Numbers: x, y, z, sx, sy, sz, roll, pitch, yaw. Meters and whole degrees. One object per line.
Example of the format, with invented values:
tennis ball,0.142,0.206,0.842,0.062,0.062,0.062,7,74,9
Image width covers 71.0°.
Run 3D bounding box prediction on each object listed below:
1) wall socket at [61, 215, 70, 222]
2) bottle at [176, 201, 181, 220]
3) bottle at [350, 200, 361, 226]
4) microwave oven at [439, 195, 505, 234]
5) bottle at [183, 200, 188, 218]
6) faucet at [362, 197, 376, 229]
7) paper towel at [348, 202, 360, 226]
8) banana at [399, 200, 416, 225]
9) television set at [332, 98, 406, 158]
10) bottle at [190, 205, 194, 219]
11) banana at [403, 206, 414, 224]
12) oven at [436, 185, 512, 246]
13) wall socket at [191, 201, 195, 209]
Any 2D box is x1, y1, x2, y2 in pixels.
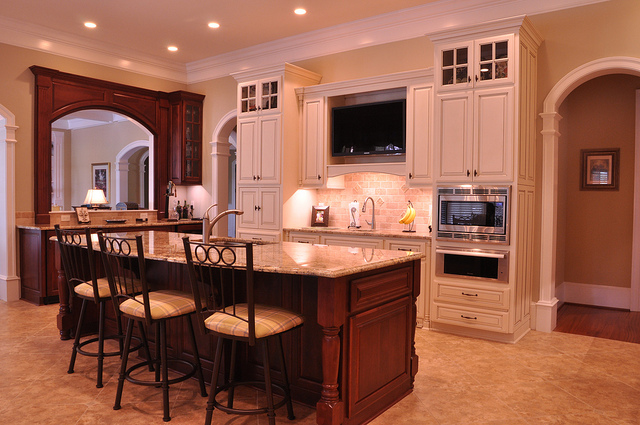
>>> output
wall socket,-4.123,0.078,7.256,0.124,0.102,0.020,-8,14,-38
bottle,-2.639,-0.013,8.368,0.082,0.243,0.235,-4,11,-19
bottle,0.526,0.009,6.825,0.137,0.363,0.151,0,11,0
microwave oven,1.997,0.043,5.757,0.905,0.556,0.523,2,-4,40
bottle,-2.591,-0.083,8.603,0.089,0.290,0.331,-3,11,-17
faucet,0.737,-0.007,6.761,0.205,0.455,0.260,1,11,5
paper towel,0.528,0.018,6.823,0.141,0.354,0.146,1,11,4
banana,1.258,-0.009,6.408,0.171,0.116,0.353,0,47,19
television set,0.747,-1.239,6.585,0.973,0.640,0.098,1,4,28
bottle,-2.460,-0.031,8.594,0.066,0.218,0.216,-2,11,-13
banana,1.265,0.022,6.367,0.124,0.213,0.178,6,12,26
oven,1.946,0.027,5.552,0.770,0.657,0.296,2,0,28
wall socket,-2.472,-0.158,8.698,0.051,0.143,0.091,-9,14,-40
